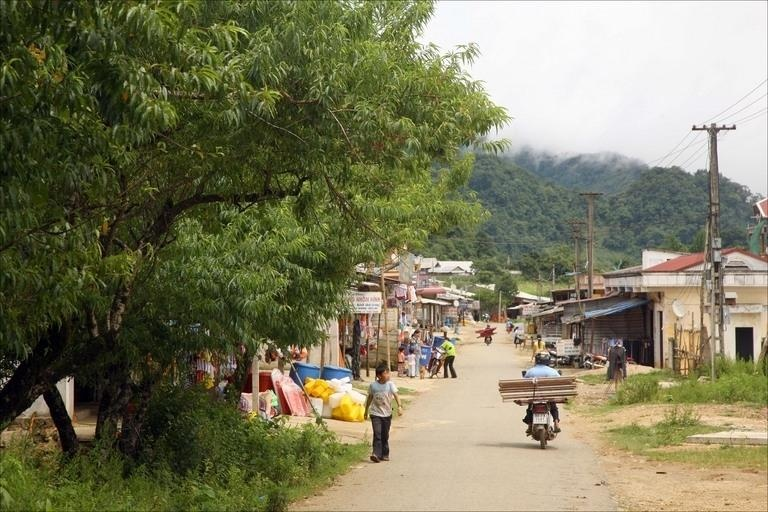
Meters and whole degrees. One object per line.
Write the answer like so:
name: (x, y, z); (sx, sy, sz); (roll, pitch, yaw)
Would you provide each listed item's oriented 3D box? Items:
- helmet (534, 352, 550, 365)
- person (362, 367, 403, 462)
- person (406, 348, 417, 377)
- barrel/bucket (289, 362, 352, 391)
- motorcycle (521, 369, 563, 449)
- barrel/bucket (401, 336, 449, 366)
helmet: (3.367, 2.163, 18.642); (0.236, 0.319, 0.320); (4, 14, 34)
person: (-0.039, 3.024, 16.980); (0.648, 1.797, 1.118); (0, -6, 0)
person: (1.111, 4.285, 35.350); (0.343, 1.169, 1.003); (0, -7, 2)
barrel/bucket: (-1.709, 3.151, 23.164); (1.115, 0.915, 0.678); (1, -2, -6)
motorcycle: (3.298, 3.093, 18.264); (0.757, 1.672, 1.075); (-1, -7, 11)
barrel/bucket: (1.467, 4.098, 36.180); (1.155, 0.807, 1.214); (-1, -5, 0)
